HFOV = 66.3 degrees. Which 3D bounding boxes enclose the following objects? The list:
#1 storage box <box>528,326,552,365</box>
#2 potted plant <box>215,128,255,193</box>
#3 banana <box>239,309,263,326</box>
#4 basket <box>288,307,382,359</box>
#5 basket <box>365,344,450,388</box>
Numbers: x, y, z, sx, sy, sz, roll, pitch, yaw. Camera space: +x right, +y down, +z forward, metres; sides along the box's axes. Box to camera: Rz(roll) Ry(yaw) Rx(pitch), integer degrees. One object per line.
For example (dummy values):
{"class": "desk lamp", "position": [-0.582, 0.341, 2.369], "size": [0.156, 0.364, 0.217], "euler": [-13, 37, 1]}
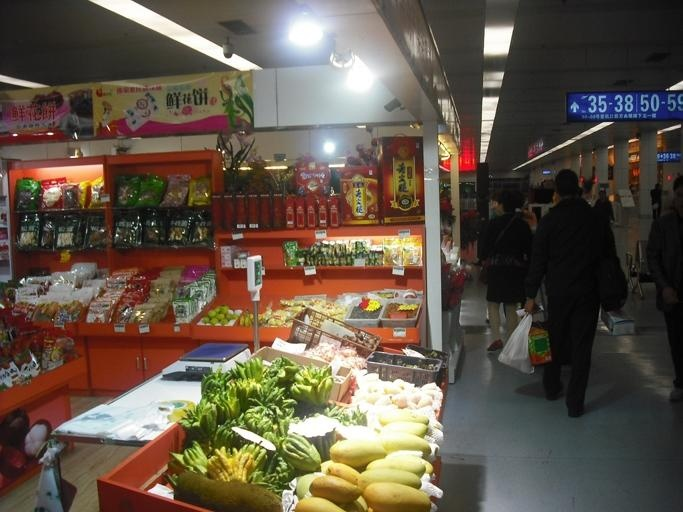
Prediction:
{"class": "storage box", "position": [2.060, 0.918, 5.344], "size": [0.224, 0.389, 0.223], "euler": [-11, -16, 21]}
{"class": "potted plant", "position": [-1.301, -1.158, 6.366], "size": [0.402, 1.151, 0.557], "euler": [3, 11, 18]}
{"class": "banana", "position": [-0.987, 0.686, 5.671], "size": [0.190, 0.161, 0.084], "euler": [19, 3, -9]}
{"class": "basket", "position": [-0.069, 0.630, 4.273], "size": [0.459, 0.357, 0.596], "euler": [-7, 13, -37]}
{"class": "basket", "position": [0.513, 0.690, 3.764], "size": [0.531, 0.251, 0.399], "euler": [5, 11, 23]}
